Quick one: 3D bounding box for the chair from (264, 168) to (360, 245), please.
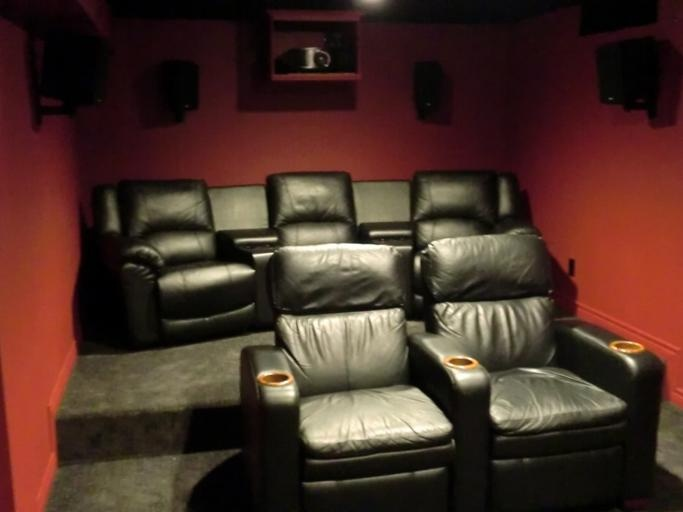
[{"bbox_3d":[-0.249,-0.406,5.216,0.635,0.685,0.682,-3,2,-7],"label":"chair"}]

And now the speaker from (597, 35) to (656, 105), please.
[{"bbox_3d":[1.847,-1.194,3.896,0.105,0.390,0.419,-8,8,-38],"label":"speaker"}]

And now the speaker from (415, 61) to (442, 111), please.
[{"bbox_3d":[0.806,-1.547,5.585,0.278,0.515,0.209,-4,12,2],"label":"speaker"}]

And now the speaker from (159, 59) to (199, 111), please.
[{"bbox_3d":[-1.369,-1.453,5.128,0.301,0.406,0.153,-5,12,-6],"label":"speaker"}]

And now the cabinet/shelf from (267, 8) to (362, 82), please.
[{"bbox_3d":[-0.233,-1.794,5.235,0.830,0.551,0.573,0,6,-8],"label":"cabinet/shelf"}]

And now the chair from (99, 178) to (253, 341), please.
[{"bbox_3d":[-1.340,0.002,4.748,0.961,1.146,1.257,-7,13,-31],"label":"chair"}]

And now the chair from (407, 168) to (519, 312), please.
[{"bbox_3d":[0.975,-0.104,5.065,0.935,1.216,0.911,2,13,15],"label":"chair"}]

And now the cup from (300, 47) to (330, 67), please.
[{"bbox_3d":[-0.213,-1.699,5.208,0.201,0.181,0.187,-3,10,0],"label":"cup"}]
